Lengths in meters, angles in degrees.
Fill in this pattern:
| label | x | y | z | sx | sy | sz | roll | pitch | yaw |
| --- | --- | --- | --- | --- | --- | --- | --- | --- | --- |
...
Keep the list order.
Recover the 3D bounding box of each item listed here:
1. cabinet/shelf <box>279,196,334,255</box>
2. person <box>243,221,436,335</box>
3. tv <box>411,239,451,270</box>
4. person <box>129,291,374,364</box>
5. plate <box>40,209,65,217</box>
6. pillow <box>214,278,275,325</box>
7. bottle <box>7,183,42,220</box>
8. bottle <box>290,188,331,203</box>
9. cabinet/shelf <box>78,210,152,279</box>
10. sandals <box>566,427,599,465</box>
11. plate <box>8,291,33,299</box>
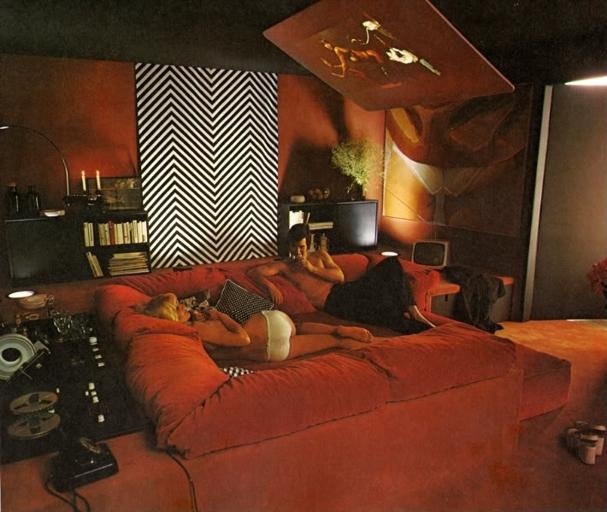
| label | x | y | z | sx | sy | sz | roll | pitch | yaw |
| --- | --- | --- | --- | --- | --- | --- | --- | --- | --- |
| cabinet/shelf | 0.012 | -0.330 | 5.124 | 0.676 | 0.645 | 0.252 | -3 | 10 | -32 |
| person | 0.247 | 0.093 | 3.416 | 0.695 | 0.580 | 1.104 | -17 | 19 | -41 |
| tv | 1.264 | -0.016 | 4.981 | 0.416 | 0.363 | 0.257 | 3 | 0 | 40 |
| person | -0.280 | 0.477 | 3.023 | 1.430 | 0.481 | 0.522 | 3 | -3 | -1 |
| plate | -2.222 | -0.376 | 4.406 | 0.200 | 0.067 | 0.127 | -3 | 4 | -31 |
| pillow | -0.397 | 0.272 | 3.347 | 0.425 | 0.400 | 0.116 | -4 | 49 | -24 |
| bottle | -2.468 | -0.482 | 4.362 | 0.274 | 0.311 | 0.321 | -3 | 4 | -27 |
| bottle | 0.084 | -0.688 | 5.649 | 0.383 | 0.130 | 0.223 | -2 | 5 | -6 |
| cabinet/shelf | -1.787 | -0.113 | 4.612 | 0.596 | 0.556 | 0.194 | -5 | 10 | -28 |
| sandals | 1.595 | 1.081 | 2.824 | 0.132 | 0.164 | 0.163 | -4 | 3 | -21 |
| plate | -2.246 | 0.314 | 3.938 | 0.217 | 0.054 | 0.151 | 0 | 4 | 27 |
